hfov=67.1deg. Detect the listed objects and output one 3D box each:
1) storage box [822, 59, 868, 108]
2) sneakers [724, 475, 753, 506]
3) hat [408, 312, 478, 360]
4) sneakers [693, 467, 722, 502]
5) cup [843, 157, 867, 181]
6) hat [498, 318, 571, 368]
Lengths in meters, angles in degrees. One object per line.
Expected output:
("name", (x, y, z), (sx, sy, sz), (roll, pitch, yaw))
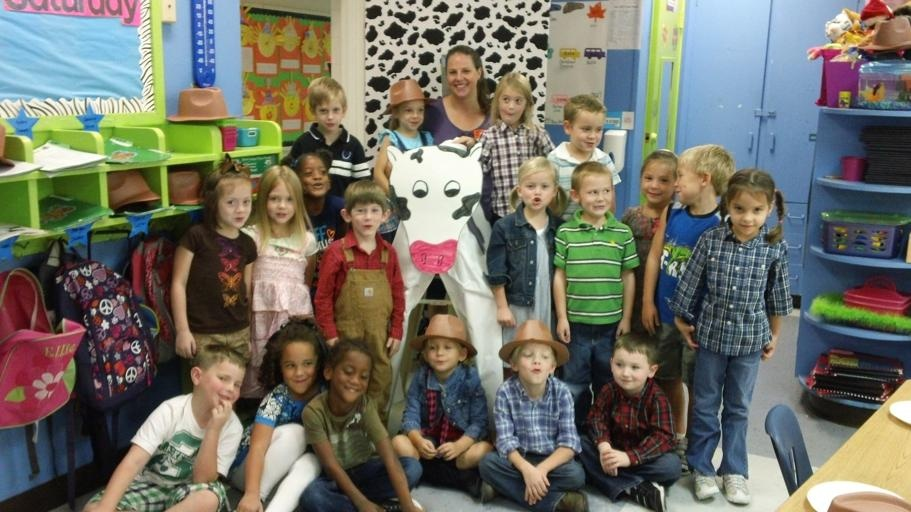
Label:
("storage box", (2.553, -1.129, 4.482), (0.306, 0.364, 0.209), (6, 24, 23))
("sneakers", (1.618, 1.314, 3.894), (0.184, 0.134, 0.159), (-1, 13, -8))
("hat", (-0.052, 0.446, 4.001), (0.254, 0.119, 0.324), (5, -25, 15))
("sneakers", (1.406, 1.304, 3.835), (0.087, 0.092, 0.224), (-5, -6, 9))
("cup", (2.650, -0.578, 4.570), (0.164, 0.146, 0.158), (0, 5, 0))
("hat", (0.473, 0.551, 4.047), (0.311, 0.106, 0.322), (0, -25, 7))
